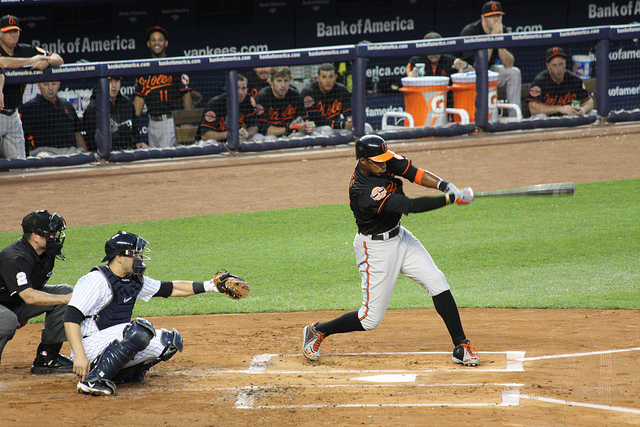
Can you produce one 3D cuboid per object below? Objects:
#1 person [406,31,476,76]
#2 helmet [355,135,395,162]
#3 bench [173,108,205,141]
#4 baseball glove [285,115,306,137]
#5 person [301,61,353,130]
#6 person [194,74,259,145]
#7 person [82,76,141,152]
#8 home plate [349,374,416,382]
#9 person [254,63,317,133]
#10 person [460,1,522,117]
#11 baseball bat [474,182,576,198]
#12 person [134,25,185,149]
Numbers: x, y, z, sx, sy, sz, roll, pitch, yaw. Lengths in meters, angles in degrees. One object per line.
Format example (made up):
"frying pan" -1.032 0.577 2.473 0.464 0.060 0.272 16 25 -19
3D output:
"person" 2.129 -2.747 20.246 0.704 1.092 0.391 -15 53 -2
"helmet" 0.645 -0.772 13.506 0.502 0.262 0.368 12 30 37
"bench" -2.222 -1.549 19.478 0.539 0.511 0.692 -1 -29 -15
"baseball glove" -0.410 -1.505 19.759 0.375 0.147 0.245 -3 52 -3
"person" 0.091 -2.051 19.762 0.939 1.151 0.686 -6 32 -9
"person" -1.543 -1.719 19.435 1.013 1.196 0.489 -4 9 -3
"person" -3.404 -1.620 18.982 0.881 1.227 0.434 -5 9 -9
"home plate" 0.731 1.913 13.419 0.716 0.046 0.178 -2 8 6
"person" -0.545 -1.872 19.550 1.204 1.197 0.847 6 21 14
"person" 3.121 -2.719 20.661 0.751 2.044 1.239 5 12 44
"baseball bat" 2.760 -0.314 15.607 1.190 0.146 0.146 -6 58 -7
"person" -2.708 -2.062 19.270 0.846 1.980 0.632 -8 10 -24
